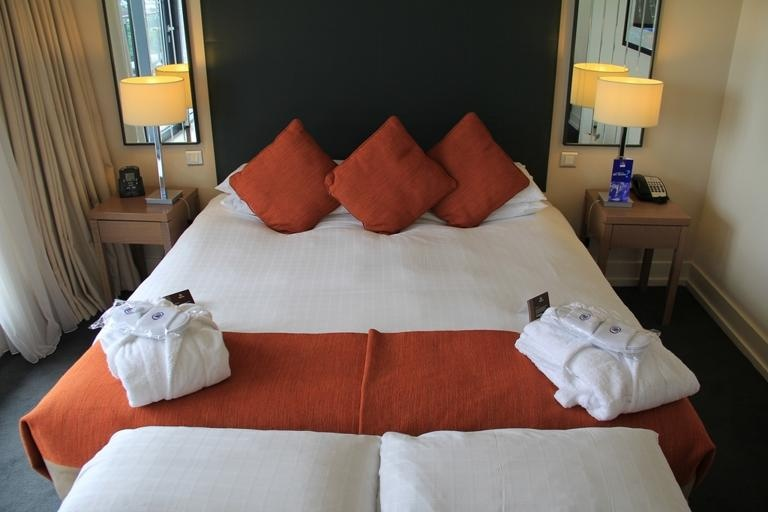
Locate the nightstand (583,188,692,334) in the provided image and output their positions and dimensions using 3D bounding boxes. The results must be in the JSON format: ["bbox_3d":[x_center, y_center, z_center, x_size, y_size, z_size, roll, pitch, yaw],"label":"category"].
[{"bbox_3d":[1.885,0.002,3.934,0.534,0.851,0.669,0,21,10],"label":"nightstand"}]

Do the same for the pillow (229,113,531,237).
[{"bbox_3d":[0.009,-0.537,3.495,2.185,0.867,0.290,3,-2,-4],"label":"pillow"}]
